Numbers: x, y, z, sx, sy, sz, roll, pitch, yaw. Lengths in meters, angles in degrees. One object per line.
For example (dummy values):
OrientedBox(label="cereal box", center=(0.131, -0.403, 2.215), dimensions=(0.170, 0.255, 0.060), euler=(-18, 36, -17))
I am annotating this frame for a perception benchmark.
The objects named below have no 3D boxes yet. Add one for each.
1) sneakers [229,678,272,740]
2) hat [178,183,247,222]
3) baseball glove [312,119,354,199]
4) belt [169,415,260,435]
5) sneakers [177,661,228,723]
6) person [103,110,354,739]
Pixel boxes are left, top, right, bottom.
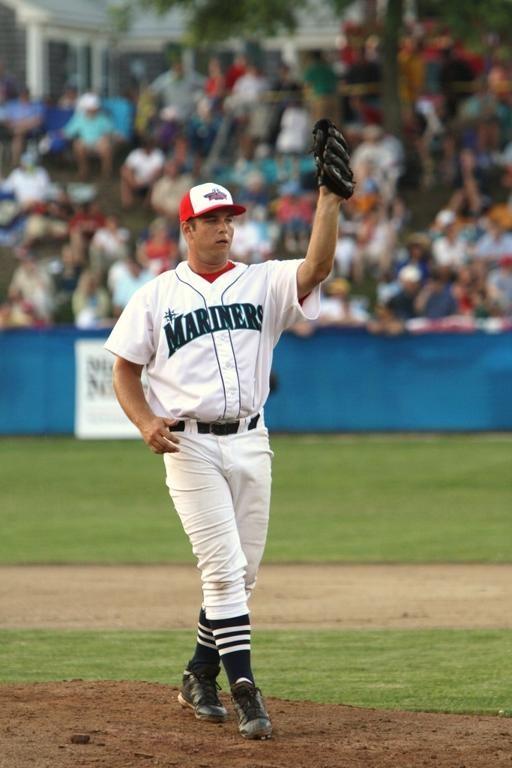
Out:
OrientedBox(label="sneakers", center=(-0.013, 1.189, 5.204), dimensions=(0.152, 0.184, 0.163), euler=(1, 6, -1))
OrientedBox(label="hat", center=(-0.184, -0.687, 5.464), dimensions=(0.156, 0.112, 0.205), euler=(-7, -1, -32))
OrientedBox(label="baseball glove", center=(0.296, -0.844, 5.344), dimensions=(0.157, 0.308, 0.261), euler=(1, 7, 2))
OrientedBox(label="belt", center=(-0.152, 0.164, 5.366), dimensions=(0.330, 0.064, 0.096), euler=(0, 6, -10))
OrientedBox(label="sneakers", center=(-0.208, 1.194, 5.432), dimensions=(0.095, 0.114, 0.270), euler=(3, 2, -26))
OrientedBox(label="person", center=(-0.105, 0.139, 5.434), dimensions=(0.803, 2.275, 0.686), euler=(7, 9, 43))
